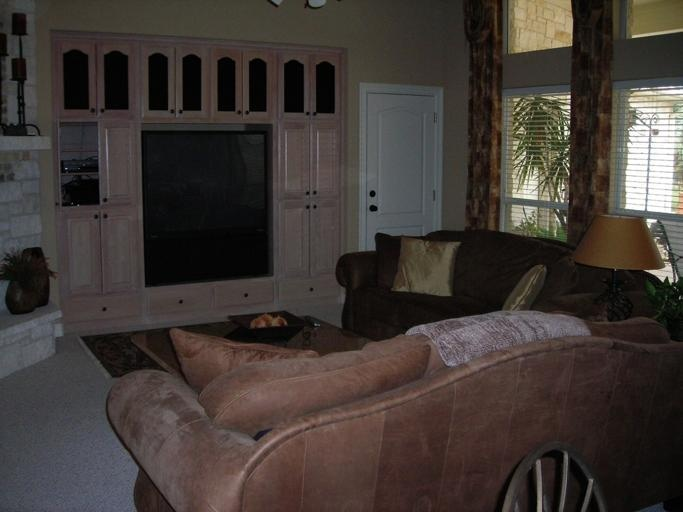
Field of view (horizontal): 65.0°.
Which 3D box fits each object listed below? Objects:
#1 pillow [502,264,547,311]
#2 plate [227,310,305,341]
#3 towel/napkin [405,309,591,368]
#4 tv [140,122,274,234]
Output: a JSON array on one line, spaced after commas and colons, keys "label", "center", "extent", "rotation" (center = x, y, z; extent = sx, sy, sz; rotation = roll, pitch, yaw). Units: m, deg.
[{"label": "pillow", "center": [1.294, 0.234, 3.794], "extent": [0.301, 0.225, 0.239], "rotation": [-14, 4, -10]}, {"label": "plate", "center": [-0.481, 0.467, 3.896], "extent": [0.346, 0.104, 0.299], "rotation": [-6, 10, -40]}, {"label": "towel/napkin", "center": [0.636, 0.298, 2.160], "extent": [0.534, 0.113, 0.310], "rotation": [-6, 21, -19]}, {"label": "tv", "center": [-1.480, -0.862, 5.677], "extent": [1.138, 0.897, 0.152], "rotation": [-3, 9, -21]}]
